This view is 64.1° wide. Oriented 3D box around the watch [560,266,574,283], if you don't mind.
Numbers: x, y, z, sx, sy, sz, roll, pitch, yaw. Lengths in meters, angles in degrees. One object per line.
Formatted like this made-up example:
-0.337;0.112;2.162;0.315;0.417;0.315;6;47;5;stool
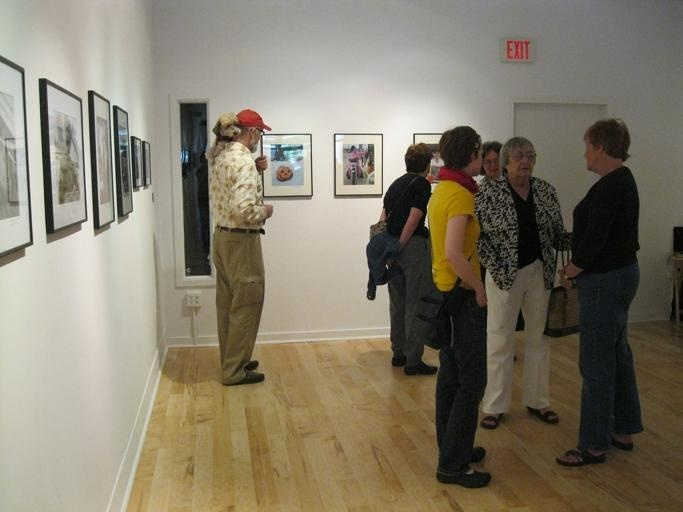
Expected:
1.370;0.111;3.288;0.037;0.112;0.078;0;20;-26;watch

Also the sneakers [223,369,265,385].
-0.815;0.995;4.578;0.339;0.153;0.121;-4;6;-19;sneakers

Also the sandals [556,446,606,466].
1.442;1.174;3.291;0.256;0.126;0.118;2;-1;1;sandals

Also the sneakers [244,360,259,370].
-0.804;0.970;4.889;0.047;0.065;0.147;4;11;28;sneakers

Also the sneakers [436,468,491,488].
0.685;1.245;3.047;0.202;0.097;0.121;-4;1;4;sneakers

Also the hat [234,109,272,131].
-0.709;-1.100;4.545;0.324;0.185;0.213;-3;19;-32;hat

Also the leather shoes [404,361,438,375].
0.674;0.966;4.703;0.311;0.152;0.113;-1;2;-6;leather shoes

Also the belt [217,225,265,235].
-0.829;-0.212;4.456;0.381;0.081;0.205;-3;10;-15;belt

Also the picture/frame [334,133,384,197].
0.153;-0.959;5.598;0.562;0.754;0.034;-1;9;-4;picture/frame

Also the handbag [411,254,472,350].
0.467;0.281;2.979;0.294;0.617;0.334;4;3;-6;handbag

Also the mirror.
-1.474;-0.610;5.390;0.418;1.853;0.198;-3;8;-16;mirror

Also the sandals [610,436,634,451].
1.766;1.177;3.464;0.055;0.066;0.155;-5;13;-30;sandals

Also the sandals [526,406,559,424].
1.422;1.108;3.847;0.083;0.067;0.234;-8;8;-23;sandals

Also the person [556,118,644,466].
1.565;0.356;3.227;0.509;1.742;0.344;1;8;15;person

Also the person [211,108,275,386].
-0.819;-0.062;4.465;0.503;2.217;0.447;-2;8;-10;person
